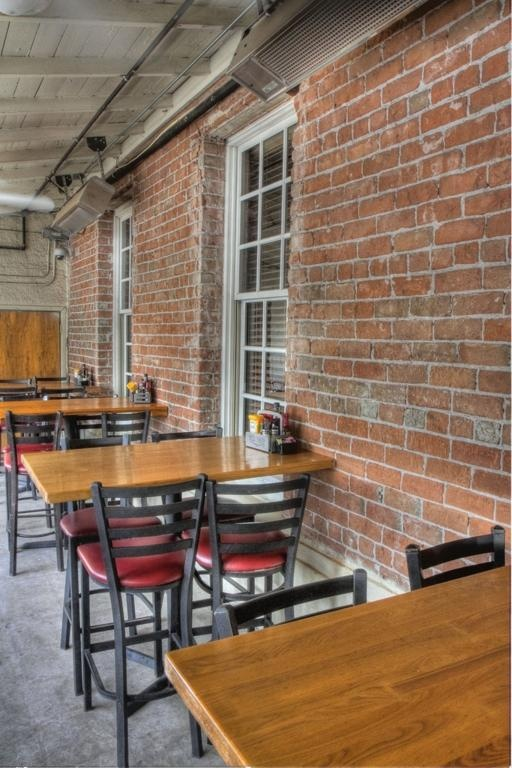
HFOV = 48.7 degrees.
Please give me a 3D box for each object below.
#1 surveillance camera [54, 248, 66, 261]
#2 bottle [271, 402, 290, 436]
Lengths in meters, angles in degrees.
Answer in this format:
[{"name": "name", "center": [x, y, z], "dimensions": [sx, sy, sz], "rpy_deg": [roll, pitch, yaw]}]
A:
[{"name": "surveillance camera", "center": [-2.540, -1.665, 7.308], "dimensions": [0.124, 0.170, 0.163], "rpy_deg": [3, 11, -5]}, {"name": "bottle", "center": [0.116, 0.173, 2.672], "dimensions": [0.067, 0.201, 0.137], "rpy_deg": [-2, 2, -23]}]
